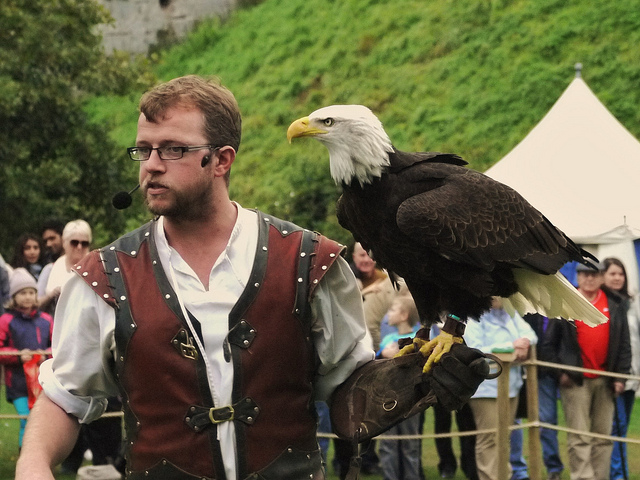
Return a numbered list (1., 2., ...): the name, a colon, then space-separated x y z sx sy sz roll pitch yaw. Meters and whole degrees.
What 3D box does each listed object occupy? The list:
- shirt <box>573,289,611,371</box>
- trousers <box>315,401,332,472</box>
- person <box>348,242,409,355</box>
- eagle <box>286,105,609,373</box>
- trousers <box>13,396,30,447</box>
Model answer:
1. shirt: 2.603 0.858 13.647 0.399 0.751 0.185 -5 -4 32
2. trousers: -0.015 1.912 13.855 0.141 0.672 0.174 8 -50 -10
3. person: 0.541 0.550 14.363 0.617 1.026 0.432 -1 -1 20
4. eagle: 1.124 -0.065 12.151 2.923 2.240 1.379 -4 5 -28
5. trousers: -2.863 1.734 13.714 0.150 0.465 0.860 -5 -5 -13
